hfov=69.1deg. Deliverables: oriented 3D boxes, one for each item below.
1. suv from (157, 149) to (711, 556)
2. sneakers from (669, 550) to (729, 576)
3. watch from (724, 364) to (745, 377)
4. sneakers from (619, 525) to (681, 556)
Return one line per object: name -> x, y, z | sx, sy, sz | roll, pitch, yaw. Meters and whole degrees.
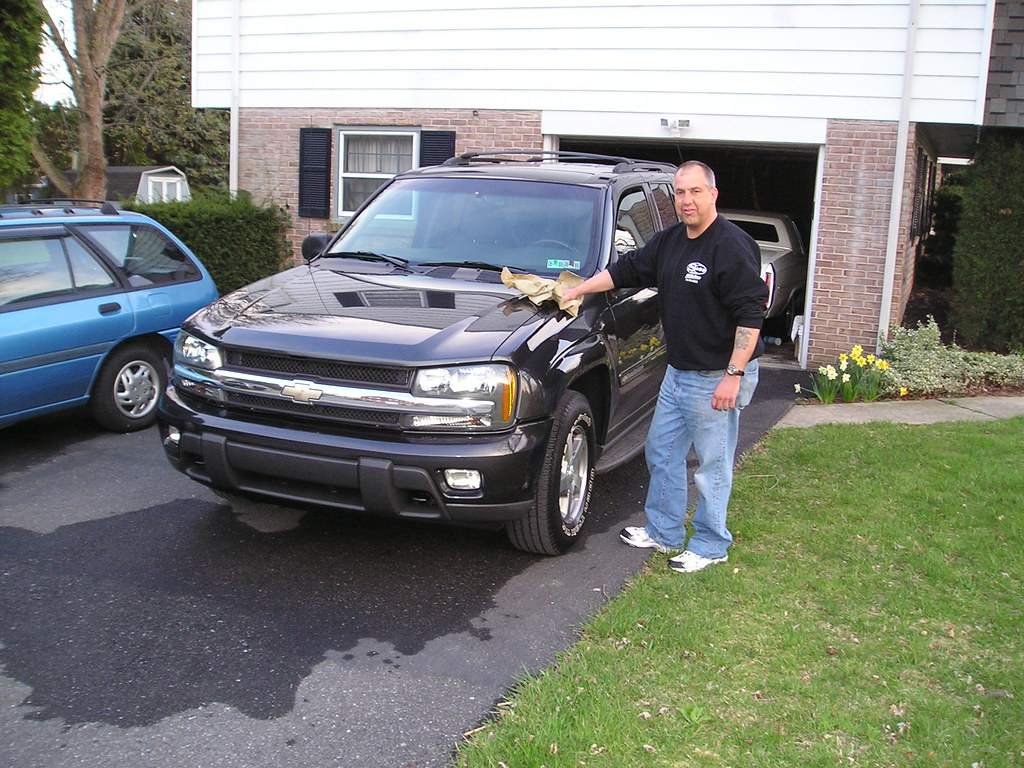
suv -> -0.090, -0.520, 5.417 | 2.335, 1.439, 3.907 | 8, 14, 25
sneakers -> 1.121, 1.079, 4.512 | 0.334, 0.112, 0.114 | 1, 1, -24
watch -> 1.237, -0.077, 4.222 | 0.088, 0.044, 0.080 | 2, -2, 31
sneakers -> 0.885, 1.017, 4.887 | 0.371, 0.135, 0.128 | 10, 14, 19
